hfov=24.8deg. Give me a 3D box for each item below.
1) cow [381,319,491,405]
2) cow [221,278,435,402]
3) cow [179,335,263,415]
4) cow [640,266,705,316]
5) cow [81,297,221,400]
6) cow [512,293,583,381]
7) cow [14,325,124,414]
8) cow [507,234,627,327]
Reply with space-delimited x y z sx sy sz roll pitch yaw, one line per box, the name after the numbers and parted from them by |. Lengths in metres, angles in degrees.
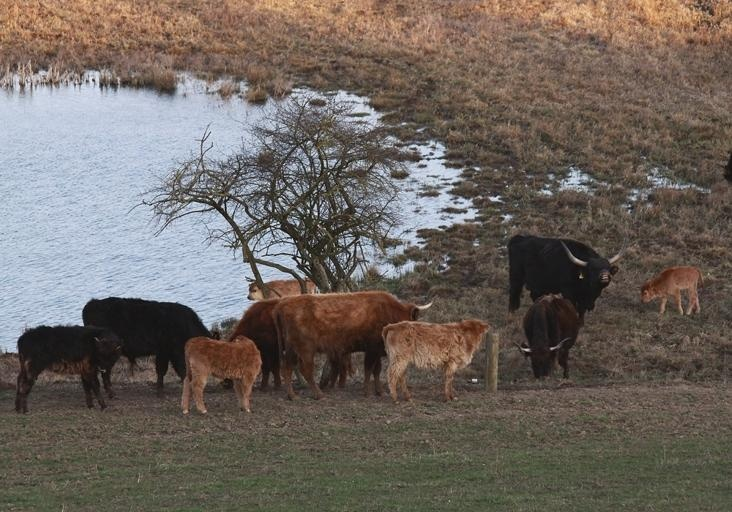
2.896 4.205 67.749 4.549 3.672 1.374 2 -9 -10 | cow
1.758 3.023 67.771 11.533 6.192 3.362 -6 8 -10 | cow
-5.538 4.805 67.061 3.940 3.169 1.181 1 -2 -29 | cow
13.547 1.514 73.297 2.849 2.103 0.875 -8 6 5 | cow
-8.887 3.773 69.227 6.341 3.915 1.625 5 4 -3 | cow
7.867 3.267 70.544 2.419 3.539 2.390 -1 10 2 | cow
-12.238 4.544 67.076 3.900 3.540 0.958 2 -3 -15 | cow
9.653 0.658 73.960 2.576 3.436 6.366 -8 7 -40 | cow
